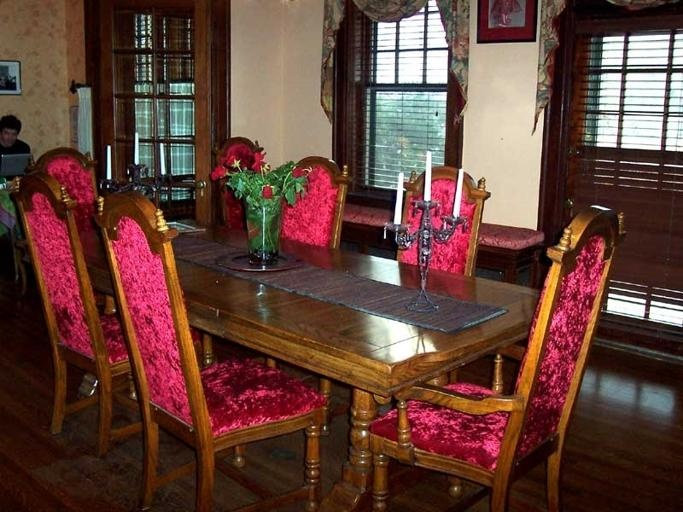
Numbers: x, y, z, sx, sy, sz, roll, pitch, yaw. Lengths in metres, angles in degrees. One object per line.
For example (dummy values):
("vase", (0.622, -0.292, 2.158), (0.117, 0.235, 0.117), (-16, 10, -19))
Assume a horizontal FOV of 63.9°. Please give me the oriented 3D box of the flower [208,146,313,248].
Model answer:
("flower", (-0.391, -0.294, 2.730), (0.464, 0.475, 0.453), (-5, 7, -44))
